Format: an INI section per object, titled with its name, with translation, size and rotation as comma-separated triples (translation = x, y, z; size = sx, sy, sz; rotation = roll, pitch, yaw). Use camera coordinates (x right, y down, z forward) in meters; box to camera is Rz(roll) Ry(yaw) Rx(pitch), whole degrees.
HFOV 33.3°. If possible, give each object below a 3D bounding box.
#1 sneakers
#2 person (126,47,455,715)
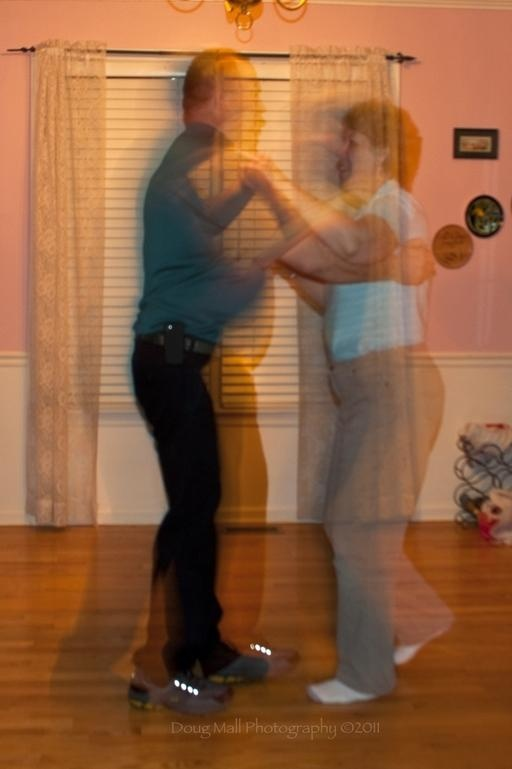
[sneakers]
translation = -0.078, 0.427, 1.292
size = 0.232, 0.091, 0.079
rotation = -8, 1, -4
[person]
translation = 0.084, -0.005, 1.265
size = 0.534, 0.928, 0.298
rotation = 0, 12, -11
